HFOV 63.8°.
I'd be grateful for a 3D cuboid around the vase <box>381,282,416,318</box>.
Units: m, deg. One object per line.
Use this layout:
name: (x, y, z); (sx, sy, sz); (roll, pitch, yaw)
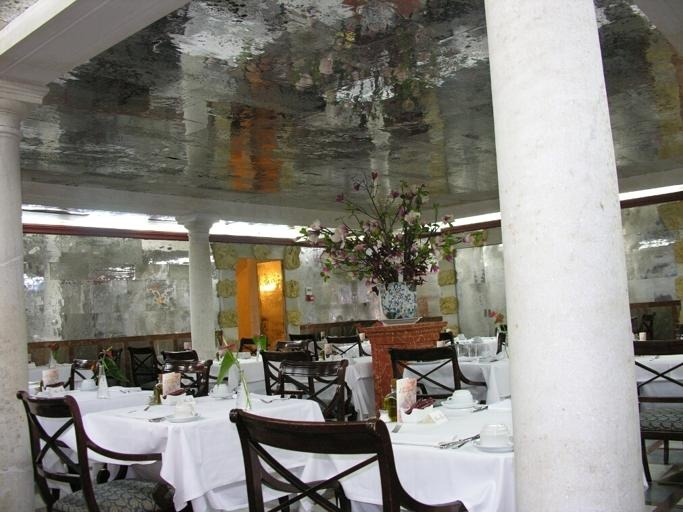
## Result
vase: (0.508, 0.418, 5.131); (0.370, 0.309, 0.346); (-1, -6, 5)
